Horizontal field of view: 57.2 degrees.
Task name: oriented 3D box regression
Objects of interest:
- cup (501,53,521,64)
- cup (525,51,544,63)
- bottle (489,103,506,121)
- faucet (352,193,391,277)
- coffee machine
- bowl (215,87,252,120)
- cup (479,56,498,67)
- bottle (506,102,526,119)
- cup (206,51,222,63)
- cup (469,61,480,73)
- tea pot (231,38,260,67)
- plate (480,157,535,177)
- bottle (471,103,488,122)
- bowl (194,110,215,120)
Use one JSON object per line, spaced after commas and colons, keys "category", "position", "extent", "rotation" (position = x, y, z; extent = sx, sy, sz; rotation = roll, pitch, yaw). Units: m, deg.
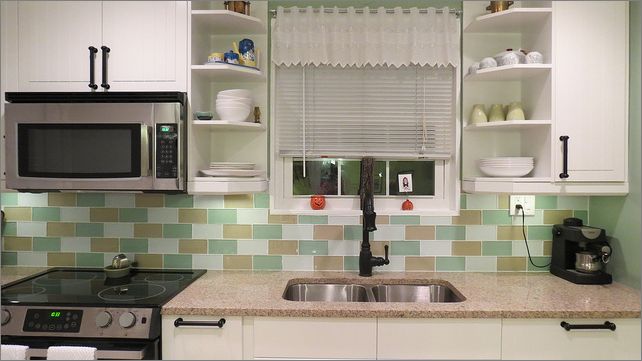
{"category": "cup", "position": [1.552, -0.996, 4.819], "extent": [0.099, 0.072, 0.107], "rotation": [1, 10, 0]}
{"category": "cup", "position": [1.736, -0.997, 4.770], "extent": [0.107, 0.073, 0.112], "rotation": [2, 8, 0]}
{"category": "bottle", "position": [1.488, -0.569, 4.957], "extent": [0.154, 0.133, 0.141], "rotation": [-3, 4, -19]}
{"category": "faucet", "position": [0.432, 0.444, 4.975], "extent": [0.253, 0.704, 0.199], "rotation": [-3, 10, 2]}
{"category": "coffee machine", "position": [2.127, 0.630, 5.048], "extent": [0.376, 0.530, 0.582], "rotation": [0, -6, 2]}
{"category": "bowl", "position": [-0.710, -0.621, 4.871], "extent": [0.282, 0.182, 0.271], "rotation": [0, -2, 0]}
{"category": "cup", "position": [1.401, -0.982, 4.898], "extent": [0.148, 0.087, 0.106], "rotation": [6, 13, 43]}
{"category": "bottle", "position": [1.622, -0.577, 4.901], "extent": [0.169, 0.148, 0.127], "rotation": [-2, -2, 30]}
{"category": "cup", "position": [-0.871, -1.008, 4.831], "extent": [0.097, 0.067, 0.100], "rotation": [1, 4, 0]}
{"category": "cup", "position": [1.292, -0.954, 4.948], "extent": [0.096, 0.071, 0.087], "rotation": [-1, 0, 31]}
{"category": "tea pot", "position": [-0.618, -1.068, 4.915], "extent": [0.286, 0.261, 0.158], "rotation": [-3, 3, -27]}
{"category": "plate", "position": [1.528, -0.111, 4.849], "extent": [0.432, 0.166, 0.086], "rotation": [-1, 10, 11]}
{"category": "bottle", "position": [1.333, -0.575, 4.966], "extent": [0.160, 0.139, 0.146], "rotation": [-3, 4, -23]}
{"category": "bowl", "position": [-0.955, -0.547, 4.890], "extent": [0.147, 0.077, 0.237], "rotation": [-2, 10, 5]}
